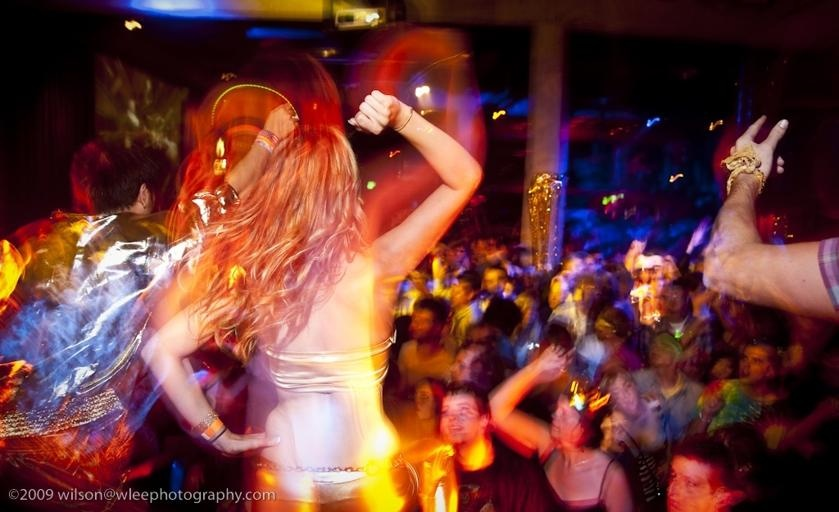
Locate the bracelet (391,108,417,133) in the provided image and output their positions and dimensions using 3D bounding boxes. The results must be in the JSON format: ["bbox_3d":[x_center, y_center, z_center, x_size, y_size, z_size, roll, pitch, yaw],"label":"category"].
[{"bbox_3d":[-0.068,-0.778,3.449,0.036,0.130,0.130,33,12,0],"label":"bracelet"}]

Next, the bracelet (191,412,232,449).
[{"bbox_3d":[-1.252,1.028,3.671,0.209,0.163,0.209,45,8,-1],"label":"bracelet"}]

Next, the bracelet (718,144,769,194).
[{"bbox_3d":[1.959,-0.504,3.572,0.269,0.256,0.123,2,-6,14],"label":"bracelet"}]
